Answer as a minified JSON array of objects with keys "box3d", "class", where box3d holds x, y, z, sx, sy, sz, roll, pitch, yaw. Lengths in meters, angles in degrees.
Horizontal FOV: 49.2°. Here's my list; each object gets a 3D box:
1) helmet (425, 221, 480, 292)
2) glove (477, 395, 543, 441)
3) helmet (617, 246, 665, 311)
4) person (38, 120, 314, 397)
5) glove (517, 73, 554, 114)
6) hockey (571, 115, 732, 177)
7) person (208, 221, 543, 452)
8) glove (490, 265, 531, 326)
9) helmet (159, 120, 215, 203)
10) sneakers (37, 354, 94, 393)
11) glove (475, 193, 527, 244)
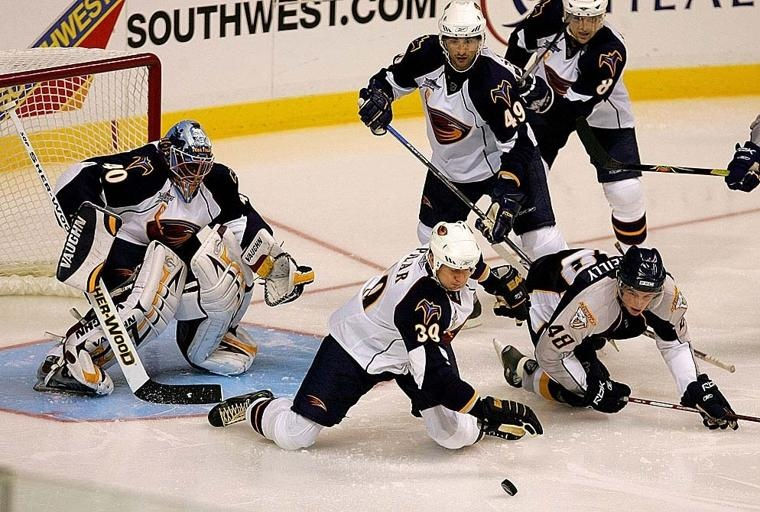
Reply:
[{"box3d":[0.337,-0.006,3.777,0.226,0.273,0.288,-7,30,-21],"class":"helmet"},{"box3d":[0.583,0.761,3.845,0.321,0.125,0.177,12,29,-12],"class":"glove"},{"box3d":[1.229,0.121,4.053,0.233,0.289,0.296,1,62,-5],"class":"helmet"},{"box3d":[-1.216,-0.006,4.672,0.952,1.500,1.425,19,15,41],"class":"person"},{"box3d":[1.023,-1.066,5.465,0.235,0.116,0.317,28,40,-5],"class":"glove"},{"box3d":[1.875,-0.722,5.655,1.223,0.390,0.023,0,-14,-21],"class":"hockey"},{"box3d":[-0.027,0.399,4.014,1.647,1.169,1.011,5,21,3],"class":"person"},{"box3d":[0.658,0.204,4.354,0.144,0.321,0.246,25,52,27],"class":"glove"},{"box3d":[-1.042,-0.526,4.497,0.308,0.380,0.357,4,9,-33],"class":"helmet"},{"box3d":[-1.652,0.628,4.392,0.250,0.107,0.198,8,-8,0],"class":"sneakers"},{"box3d":[0.692,-0.235,4.790,0.220,0.317,0.134,42,0,44],"class":"glove"}]
